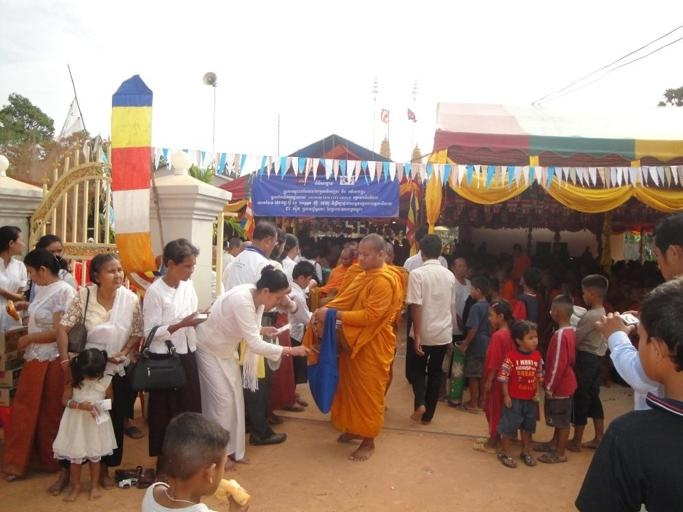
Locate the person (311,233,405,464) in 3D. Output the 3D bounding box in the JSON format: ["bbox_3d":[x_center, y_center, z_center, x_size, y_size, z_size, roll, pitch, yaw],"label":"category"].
[{"bbox_3d":[0.169,0.911,7.107,0.916,2.196,0.684,2,8,5],"label":"person"}]

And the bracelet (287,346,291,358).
[{"bbox_3d":[-0.494,0.915,6.557,0.064,0.098,0.034,1,1,32],"label":"bracelet"}]

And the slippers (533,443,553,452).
[{"bbox_3d":[2.155,1.987,7.244,0.172,0.075,0.077,3,6,3],"label":"slippers"}]

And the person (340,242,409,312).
[{"bbox_3d":[0.344,0.252,7.513,0.784,0.402,1.249,1,7,5],"label":"person"}]

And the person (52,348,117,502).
[{"bbox_3d":[-2.309,1.462,6.111,0.542,1.297,0.358,-2,8,-20],"label":"person"}]

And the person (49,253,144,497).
[{"bbox_3d":[-2.267,1.041,6.372,0.704,2.147,0.617,-1,13,-31],"label":"person"}]

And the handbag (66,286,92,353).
[{"bbox_3d":[-2.376,0.588,6.209,0.131,0.553,0.237,5,9,27],"label":"handbag"}]

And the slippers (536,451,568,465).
[{"bbox_3d":[2.182,2.043,7.045,0.214,0.089,0.133,4,3,-3],"label":"slippers"}]

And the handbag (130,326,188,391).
[{"bbox_3d":[-1.635,0.909,6.210,0.455,0.638,0.242,-2,14,0],"label":"handbag"}]

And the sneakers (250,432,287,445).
[{"bbox_3d":[-0.782,1.888,7.248,0.370,0.172,0.145,-2,2,-7],"label":"sneakers"}]

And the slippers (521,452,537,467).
[{"bbox_3d":[1.918,2.041,6.967,0.152,0.097,0.122,3,8,11],"label":"slippers"}]

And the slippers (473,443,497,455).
[{"bbox_3d":[1.526,2.008,7.224,0.169,0.053,0.100,-1,5,17],"label":"slippers"}]

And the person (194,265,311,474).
[{"bbox_3d":[-0.925,1.114,6.720,1.237,1.984,0.723,12,10,26],"label":"person"}]

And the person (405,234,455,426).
[{"bbox_3d":[1.040,0.849,8.084,0.529,2.112,0.832,5,9,22],"label":"person"}]

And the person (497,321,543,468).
[{"bbox_3d":[1.848,1.380,6.929,0.436,1.406,0.307,1,8,-5],"label":"person"}]
